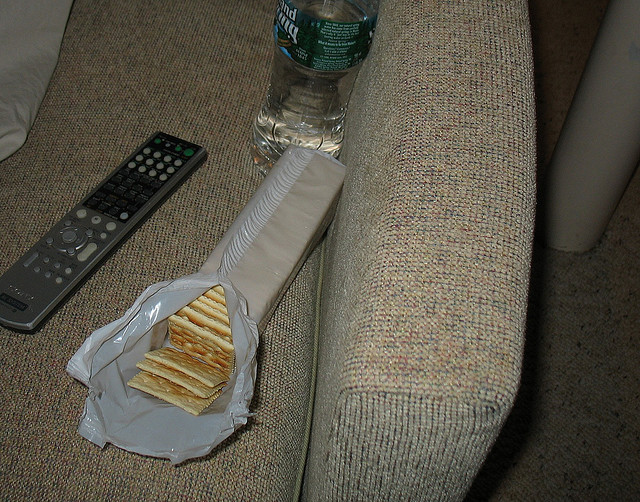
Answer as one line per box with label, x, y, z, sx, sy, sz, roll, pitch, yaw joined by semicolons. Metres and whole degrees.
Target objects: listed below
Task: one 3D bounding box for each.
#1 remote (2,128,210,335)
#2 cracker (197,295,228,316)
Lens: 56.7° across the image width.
remote;-0.278;-0.061;0.892;0.117;0.060;0.426;24;60;15
cracker;-0.129;0.065;0.717;0.046;0.009;0.011;33;21;5
